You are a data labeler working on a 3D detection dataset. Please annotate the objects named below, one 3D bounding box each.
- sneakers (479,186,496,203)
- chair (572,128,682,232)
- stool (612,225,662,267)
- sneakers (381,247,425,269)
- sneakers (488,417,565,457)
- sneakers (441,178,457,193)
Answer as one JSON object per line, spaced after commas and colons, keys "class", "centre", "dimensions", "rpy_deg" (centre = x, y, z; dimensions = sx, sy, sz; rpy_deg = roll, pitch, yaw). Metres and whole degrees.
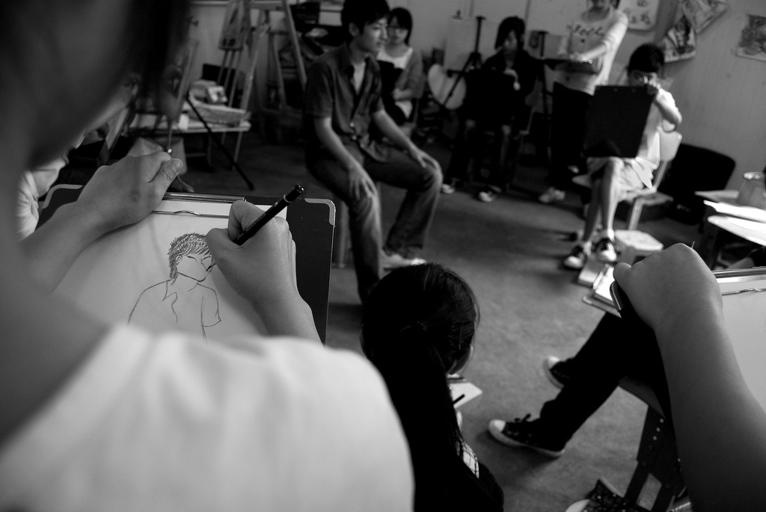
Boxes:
{"class": "sneakers", "centre": [0.785, -0.451, 3.898], "dimensions": [0.097, 0.111, 0.164], "rpy_deg": [22, 32, 35]}
{"class": "chair", "centre": [1.539, -0.486, 3.181], "dimensions": [0.429, 0.607, 0.408], "rpy_deg": [-8, 36, -19]}
{"class": "stool", "centre": [1.260, -0.047, 2.544], "dimensions": [0.192, 0.142, 0.190], "rpy_deg": [-11, 34, -18]}
{"class": "sneakers", "centre": [0.082, 0.017, 2.681], "dimensions": [0.277, 0.119, 0.093], "rpy_deg": [-3, 16, -9]}
{"class": "sneakers", "centre": [0.483, 0.611, 1.690], "dimensions": [0.213, 0.086, 0.073], "rpy_deg": [17, 53, 17]}
{"class": "sneakers", "centre": [0.495, -0.536, 3.932], "dimensions": [0.134, 0.132, 0.083], "rpy_deg": [1, 29, 1]}
